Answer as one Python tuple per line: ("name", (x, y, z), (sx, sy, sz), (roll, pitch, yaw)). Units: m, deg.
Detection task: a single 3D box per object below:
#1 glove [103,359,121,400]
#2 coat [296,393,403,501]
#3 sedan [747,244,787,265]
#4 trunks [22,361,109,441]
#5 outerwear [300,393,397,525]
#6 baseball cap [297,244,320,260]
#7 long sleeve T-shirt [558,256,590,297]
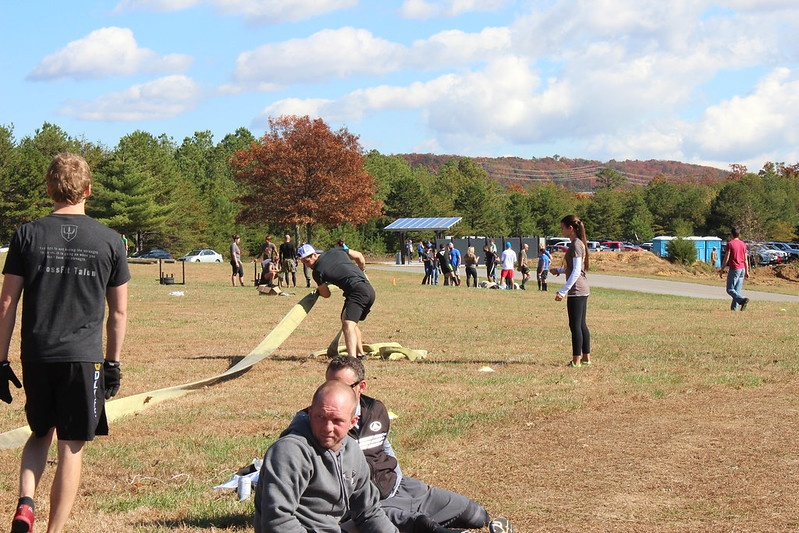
("glove", (-3.221, 1.256, 12.283), (0.266, 0.359, 0.141), (3, -6, -10))
("coat", (-0.467, 2.049, 12.353), (1.056, 1.132, 0.639), (-7, 13, -17))
("sedan", (21.264, -0.755, 63.429), (1.436, 1.155, 3.191), (-4, 2, -36))
("trunks", (-3.744, 1.413, 12.204), (1.034, 0.983, 0.630), (5, 4, 18))
("outerwear", (-0.497, 2.023, 12.293), (1.103, 1.211, 0.670), (-11, 22, -27))
("baseball cap", (-1.552, -0.301, 18.060), (0.282, 0.175, 0.198), (-8, 31, 18))
("long sleeve T-shirt", (2.786, 0.152, 17.845), (0.274, 0.617, 0.702), (6, 12, 32))
